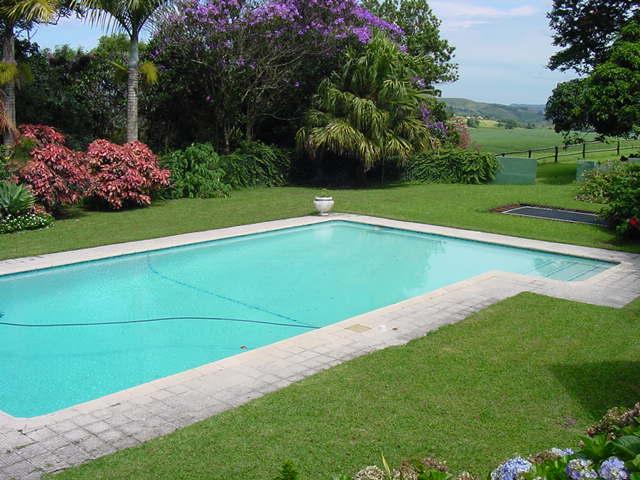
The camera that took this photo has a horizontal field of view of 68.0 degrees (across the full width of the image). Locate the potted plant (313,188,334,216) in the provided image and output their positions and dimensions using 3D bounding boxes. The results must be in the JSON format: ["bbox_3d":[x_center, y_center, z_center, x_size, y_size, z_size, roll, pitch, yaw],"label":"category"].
[{"bbox_3d":[0.071,-1.253,15.649,0.870,0.997,0.955,-2,6,-9],"label":"potted plant"}]
